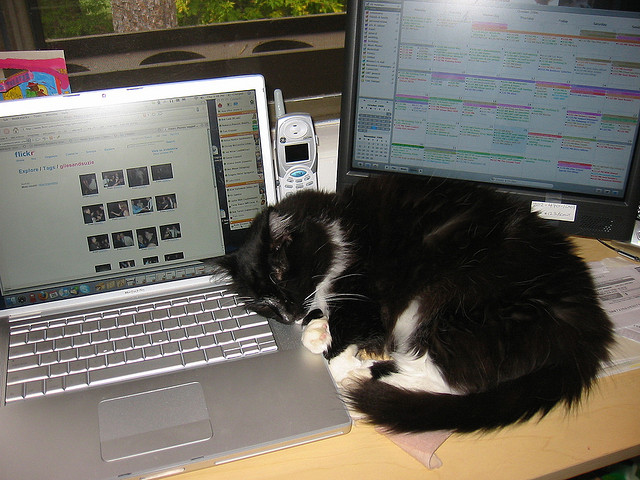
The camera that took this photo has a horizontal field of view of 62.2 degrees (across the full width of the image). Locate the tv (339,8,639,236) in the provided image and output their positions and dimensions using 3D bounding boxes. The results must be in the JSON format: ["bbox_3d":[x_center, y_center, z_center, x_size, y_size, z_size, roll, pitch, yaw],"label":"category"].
[{"bbox_3d":[0.441,-0.301,1.293,0.623,0.401,0.060,7,14,11],"label":"tv"}]

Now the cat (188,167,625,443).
[{"bbox_3d":[0.187,0.182,1.268,0.878,0.313,0.571,-5,38,6],"label":"cat"}]
